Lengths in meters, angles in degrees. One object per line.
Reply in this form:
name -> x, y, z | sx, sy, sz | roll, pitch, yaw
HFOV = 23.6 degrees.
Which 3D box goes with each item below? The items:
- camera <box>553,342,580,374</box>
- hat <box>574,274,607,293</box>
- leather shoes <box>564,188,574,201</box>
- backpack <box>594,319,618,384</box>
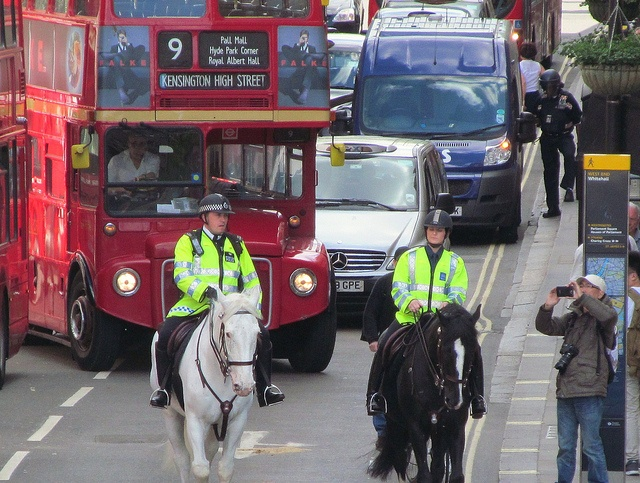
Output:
camera -> 2.600, 1.209, 16.005 | 0.249, 0.292, 0.117 | 36, 5, 25
hat -> 2.847, 0.403, 15.816 | 0.226, 0.081, 0.164 | 28, -5, -15
leather shoes -> 4.960, -0.924, 30.131 | 0.188, 0.244, 0.201 | 0, -2, -12
backpack -> 3.016, 1.138, 15.916 | 0.299, 0.625, 0.117 | -7, 11, -26
